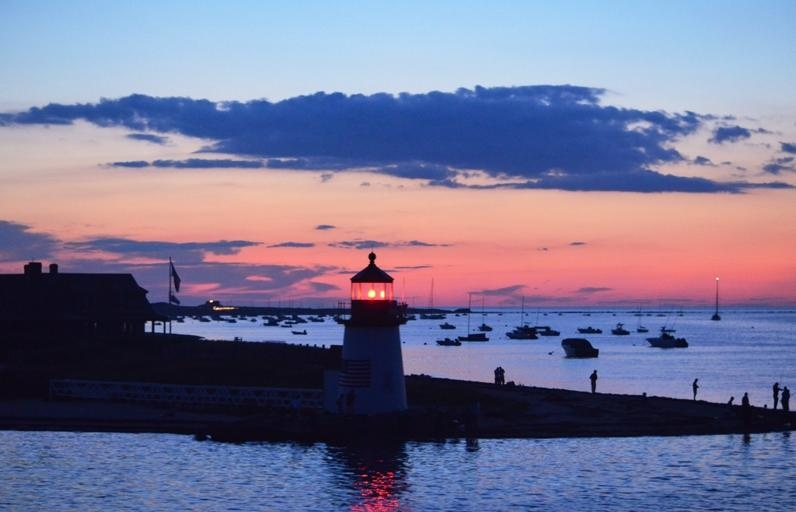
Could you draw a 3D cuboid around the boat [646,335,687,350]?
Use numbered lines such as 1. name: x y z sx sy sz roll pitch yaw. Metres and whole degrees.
1. boat: 42.132 13.661 309.350 6.942 1.974 2.372 3 3 33
